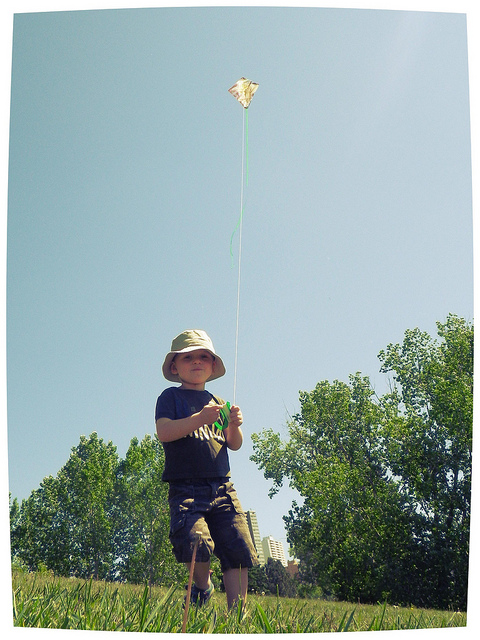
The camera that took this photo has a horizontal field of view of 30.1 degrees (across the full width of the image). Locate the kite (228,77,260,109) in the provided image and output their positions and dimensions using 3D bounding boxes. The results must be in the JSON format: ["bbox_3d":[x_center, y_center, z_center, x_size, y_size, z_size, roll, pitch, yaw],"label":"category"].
[{"bbox_3d":[0.036,-1.761,6.951,0.200,0.283,0.250,4,-11,-18],"label":"kite"}]

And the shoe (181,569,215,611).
[{"bbox_3d":[-0.295,1.913,6.366,0.198,0.246,0.530,0,-12,0],"label":"shoe"}]

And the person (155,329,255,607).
[{"bbox_3d":[-0.251,1.027,6.472,0.722,2.033,0.864,1,-9,-6],"label":"person"}]

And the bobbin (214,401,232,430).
[{"bbox_3d":[-0.118,0.693,6.479,0.127,0.183,0.375,0,-12,-2],"label":"bobbin"}]
